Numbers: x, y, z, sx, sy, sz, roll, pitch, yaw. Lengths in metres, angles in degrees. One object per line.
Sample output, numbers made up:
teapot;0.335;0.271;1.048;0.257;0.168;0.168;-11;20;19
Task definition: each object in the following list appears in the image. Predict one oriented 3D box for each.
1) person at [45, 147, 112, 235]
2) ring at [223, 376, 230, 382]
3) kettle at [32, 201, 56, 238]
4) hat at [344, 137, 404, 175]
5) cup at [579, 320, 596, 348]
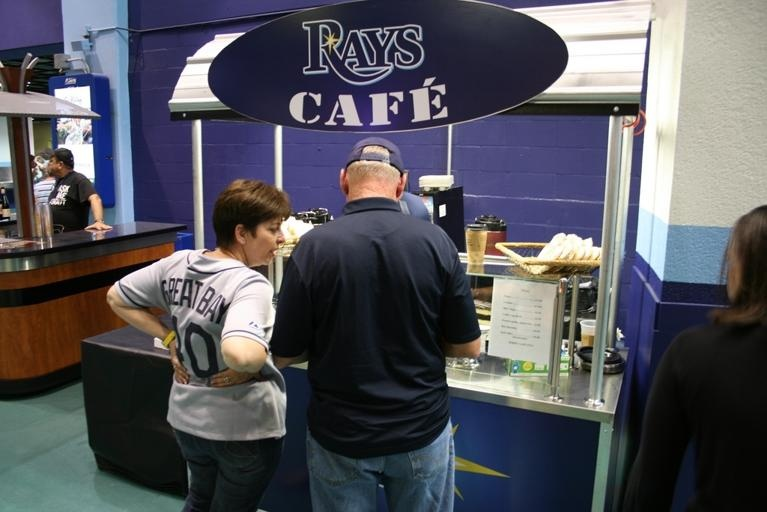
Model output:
person;-3.178;-0.676;5.799;0.445;0.834;0.906;-1;6;-31
ring;-0.685;0.540;2.465;0.026;0.026;0.015;3;8;7
kettle;-3.021;-0.322;5.007;0.137;0.308;0.255;-1;6;-32
hat;-0.014;-0.459;2.539;0.250;0.154;0.354;5;11;7
cup;1.115;0.420;3.090;0.069;0.133;0.164;4;5;16
